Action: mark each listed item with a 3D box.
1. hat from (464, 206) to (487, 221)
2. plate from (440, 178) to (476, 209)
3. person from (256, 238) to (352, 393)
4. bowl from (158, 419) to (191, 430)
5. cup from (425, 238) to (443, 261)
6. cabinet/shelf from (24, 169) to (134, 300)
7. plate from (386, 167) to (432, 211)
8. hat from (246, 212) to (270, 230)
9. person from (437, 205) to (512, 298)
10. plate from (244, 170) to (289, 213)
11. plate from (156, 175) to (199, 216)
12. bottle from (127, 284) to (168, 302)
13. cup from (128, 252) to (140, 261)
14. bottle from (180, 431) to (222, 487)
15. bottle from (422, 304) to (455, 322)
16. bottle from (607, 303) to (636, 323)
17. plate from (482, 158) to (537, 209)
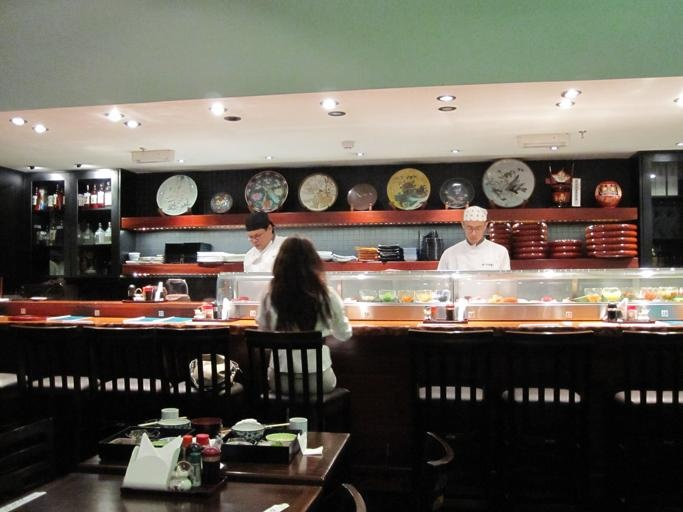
[{"bbox_3d":[1.223,-0.387,5.493,0.154,0.095,0.186,2,-7,18],"label":"hat"},{"bbox_3d":[1.270,-0.682,6.539,0.382,0.359,0.258,-1,-3,-1],"label":"plate"},{"bbox_3d":[-0.220,0.365,3.688,0.583,0.967,0.409,-1,-3,-8],"label":"person"},{"bbox_3d":[-0.810,0.813,2.926,0.149,0.039,0.098,0,-3,-13],"label":"bowl"},{"bbox_3d":[0.957,-0.090,6.323,0.262,0.220,0.232,1,-2,2],"label":"cup"},{"bbox_3d":[-3.159,-0.352,7.140,1.171,1.324,0.289,-2,-3,19],"label":"cabinet/shelf"},{"bbox_3d":[0.752,-0.752,6.633,0.479,0.474,0.254,-1,-3,2],"label":"plate"},{"bbox_3d":[-0.723,-0.309,5.286,0.222,0.173,0.141,0,-3,-13],"label":"hat"},{"bbox_3d":[1.232,0.184,5.721,0.722,1.167,0.411,0,-10,23],"label":"person"},{"bbox_3d":[-0.846,-0.737,6.844,0.635,0.503,0.116,0,-8,11],"label":"plate"},{"bbox_3d":[-1.940,-0.722,7.110,0.566,0.455,0.135,0,-13,13],"label":"plate"},{"bbox_3d":[-1.740,0.335,5.390,0.348,0.107,0.222,1,2,-4],"label":"bottle"},{"bbox_3d":[-2.435,0.003,7.060,0.130,0.075,0.123,2,-3,0],"label":"cup"},{"bbox_3d":[-0.592,0.886,2.655,0.217,0.206,0.189,-2,-3,38],"label":"bottle"},{"bbox_3d":[0.684,0.403,4.300,0.244,0.123,0.067,-3,-3,33],"label":"bottle"},{"bbox_3d":[1.982,0.380,4.265,0.248,0.137,0.131,0,0,30],"label":"bottle"},{"bbox_3d":[1.778,-0.786,6.424,0.521,0.532,0.140,-1,-3,-3],"label":"plate"}]
